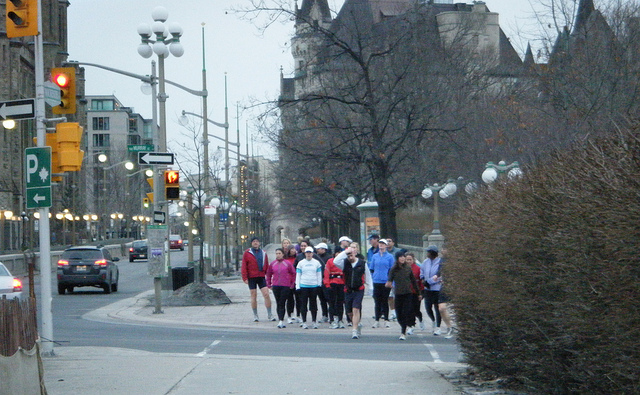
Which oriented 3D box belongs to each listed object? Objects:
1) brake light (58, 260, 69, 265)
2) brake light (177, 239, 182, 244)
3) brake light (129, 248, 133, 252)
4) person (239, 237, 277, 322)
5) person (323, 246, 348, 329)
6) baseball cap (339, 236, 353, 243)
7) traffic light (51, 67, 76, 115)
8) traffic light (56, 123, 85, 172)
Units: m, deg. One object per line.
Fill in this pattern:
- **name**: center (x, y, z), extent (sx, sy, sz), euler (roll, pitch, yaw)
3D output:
- **brake light**: center (-10.683, 2.770, 47.611), extent (0.313, 0.151, 0.198), euler (-2, -1, -1)
- **brake light**: center (-12.177, 3.962, 99.754), extent (0.394, 0.283, 0.598), euler (-2, -2, -9)
- **brake light**: center (-12.858, 3.665, 78.052), extent (0.185, 0.215, 0.187), euler (-4, -2, 43)
- **person**: center (-2.164, 2.914, 40.068), extent (1.192, 2.924, 1.309), euler (-1, 0, -7)
- **person**: center (0.638, 3.104, 39.120), extent (1.074, 2.741, 0.884), euler (-2, 0, 28)
- **baseball cap**: center (0.920, 1.537, 41.002), extent (0.343, 0.155, 0.231), euler (3, -3, 5)
- **traffic light**: center (-7.789, -3.317, 34.802), extent (0.698, 1.147, 0.440), euler (-2, -1, -6)
- **traffic light**: center (-7.556, -1.558, 34.503), extent (0.782, 1.182, 0.607), euler (-2, -1, -13)
